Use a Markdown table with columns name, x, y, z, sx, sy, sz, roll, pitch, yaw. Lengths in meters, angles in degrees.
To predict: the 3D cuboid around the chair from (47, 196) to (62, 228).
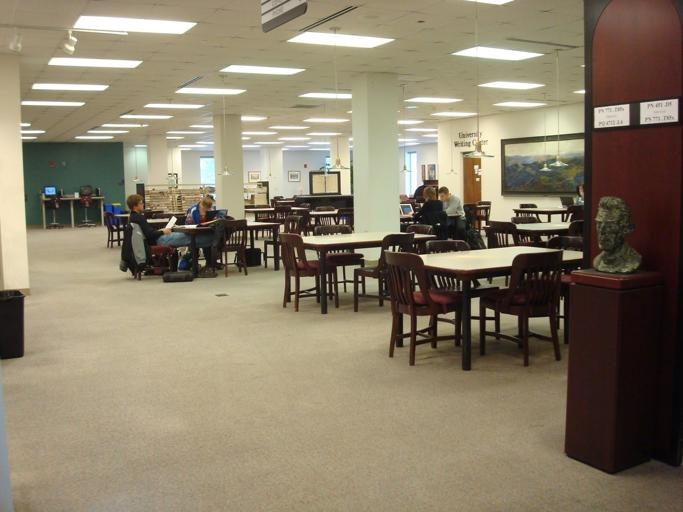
| name | x | y | z | sx | sy | sz | roll | pitch | yaw |
| --- | --- | --- | --- | --- | --- | --- | --- | --- | --- |
| chair | -12.012 | -1.814 | 22.568 | 0.541 | 1.295 | 1.202 | -5 | 5 | -28 |

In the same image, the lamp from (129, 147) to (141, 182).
| name | x | y | z | sx | sy | sz | roll | pitch | yaw |
| --- | --- | --- | --- | --- | --- | --- | --- | --- | --- |
| lamp | -10.716 | -4.777 | 28.039 | 0.596 | 1.605 | 0.261 | -1 | 5 | 16 |

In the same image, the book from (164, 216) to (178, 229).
| name | x | y | z | sx | sy | sz | roll | pitch | yaw |
| --- | --- | --- | --- | --- | --- | --- | --- | --- | --- |
| book | -3.603 | -0.703 | 11.403 | 0.083 | 0.379 | 0.355 | 26 | -1 | -16 |

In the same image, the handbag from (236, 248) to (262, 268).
| name | x | y | z | sx | sy | sz | roll | pitch | yaw |
| --- | --- | --- | --- | --- | --- | --- | --- | --- | --- |
| handbag | -1.876 | 0.040 | 11.155 | 0.450 | 0.486 | 0.323 | -1 | 2 | -42 |

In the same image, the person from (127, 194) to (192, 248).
| name | x | y | z | sx | sy | sz | roll | pitch | yaw |
| --- | --- | --- | --- | --- | --- | --- | --- | --- | --- |
| person | -3.344 | -0.500 | 9.789 | 0.834 | 0.397 | 1.393 | -2 | 11 | -16 |

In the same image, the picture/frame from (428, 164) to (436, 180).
| name | x | y | z | sx | sy | sz | roll | pitch | yaw |
| --- | --- | --- | --- | --- | --- | --- | --- | --- | --- |
| picture/frame | 4.749 | -4.437 | 28.321 | 0.282 | 0.789 | 0.772 | -4 | 5 | -15 |

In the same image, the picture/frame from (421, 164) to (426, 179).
| name | x | y | z | sx | sy | sz | roll | pitch | yaw |
| --- | --- | --- | --- | --- | --- | --- | --- | --- | --- |
| picture/frame | 4.379 | -4.515 | 28.848 | 0.227 | 0.787 | 0.580 | -2 | 5 | 9 |

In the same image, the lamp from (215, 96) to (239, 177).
| name | x | y | z | sx | sy | sz | roll | pitch | yaw |
| --- | --- | --- | --- | --- | --- | --- | --- | --- | --- |
| lamp | -3.085 | -3.087 | 14.708 | 0.704 | 1.846 | 1.760 | -3 | 5 | -12 |

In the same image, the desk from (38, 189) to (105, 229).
| name | x | y | z | sx | sy | sz | roll | pitch | yaw |
| --- | --- | --- | --- | --- | --- | --- | --- | --- | --- |
| desk | -11.743 | -1.878 | 23.174 | 1.832 | 1.221 | 0.745 | 4 | 11 | 32 |

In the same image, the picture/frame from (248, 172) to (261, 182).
| name | x | y | z | sx | sy | sz | roll | pitch | yaw |
| --- | --- | --- | --- | --- | --- | --- | --- | --- | --- |
| picture/frame | -4.914 | -4.453 | 30.541 | 0.781 | 0.758 | 0.067 | 5 | 8 | 33 |

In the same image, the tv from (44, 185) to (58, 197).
| name | x | y | z | sx | sy | sz | roll | pitch | yaw |
| --- | --- | --- | --- | --- | --- | --- | --- | --- | --- |
| tv | -11.988 | -2.611 | 22.236 | 0.474 | 0.405 | 0.408 | -5 | 5 | -29 |
